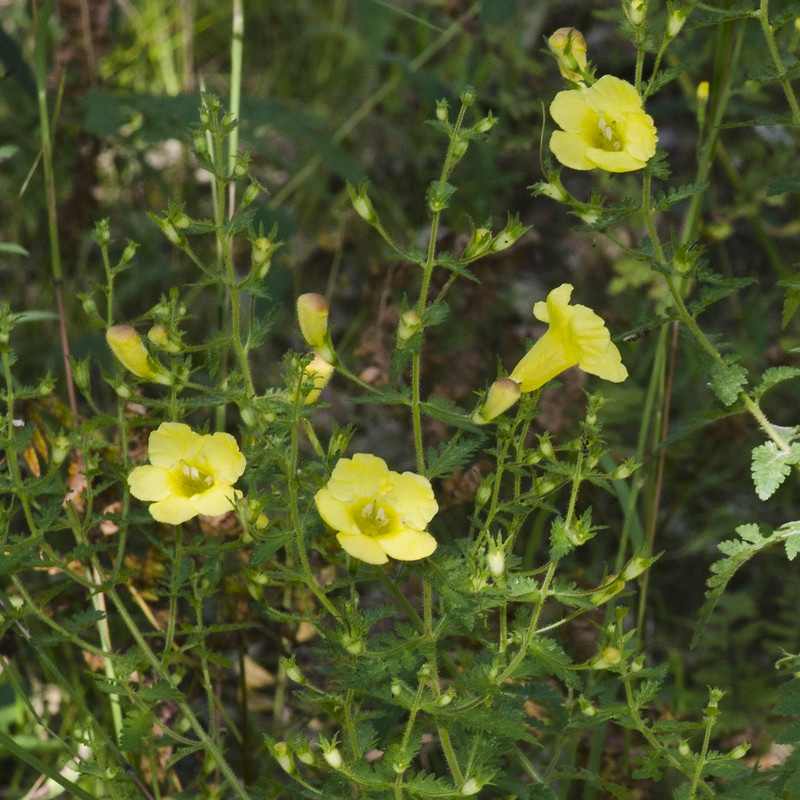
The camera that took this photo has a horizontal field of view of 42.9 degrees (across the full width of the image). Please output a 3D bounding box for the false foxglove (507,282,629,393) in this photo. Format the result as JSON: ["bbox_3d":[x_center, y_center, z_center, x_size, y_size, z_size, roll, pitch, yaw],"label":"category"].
[{"bbox_3d":[0.296,-0.100,1.703,0.197,0.211,0.075,36,71,-24],"label":"false foxglove"}]

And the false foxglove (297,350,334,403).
[{"bbox_3d":[-0.143,-0.045,1.723,0.064,0.023,0.084,28,83,-26],"label":"false foxglove"}]

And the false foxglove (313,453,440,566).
[{"bbox_3d":[-0.043,0.180,1.577,0.195,0.082,0.181,26,44,-11],"label":"false foxglove"}]

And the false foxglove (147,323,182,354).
[{"bbox_3d":[-0.399,-0.103,1.709,0.068,0.026,0.032,25,31,-17],"label":"false foxglove"}]

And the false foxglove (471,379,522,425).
[{"bbox_3d":[0.158,-0.001,1.630,0.087,0.038,0.057,-42,87,16],"label":"false foxglove"}]

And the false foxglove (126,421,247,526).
[{"bbox_3d":[-0.347,0.133,1.724,0.220,0.083,0.169,-17,76,6],"label":"false foxglove"}]
